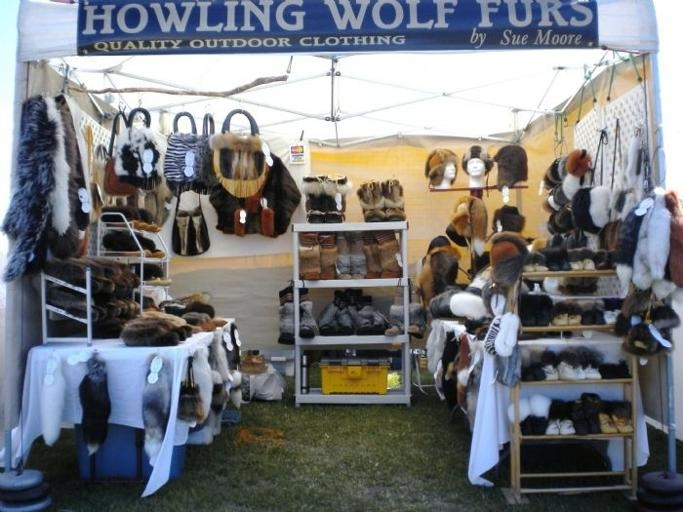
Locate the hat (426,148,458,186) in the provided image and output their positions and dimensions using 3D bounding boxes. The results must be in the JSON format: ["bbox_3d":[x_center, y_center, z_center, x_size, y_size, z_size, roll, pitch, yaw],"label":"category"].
[{"bbox_3d":[1.017,-0.893,8.265,0.320,0.497,0.325,0,-3,-38],"label":"hat"}]

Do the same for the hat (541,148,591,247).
[{"bbox_3d":[1.960,-0.478,6.675,0.218,0.730,0.486,9,-3,-1],"label":"hat"}]

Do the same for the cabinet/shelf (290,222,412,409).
[{"bbox_3d":[0.093,0.602,7.999,1.369,2.443,0.709,0,-7,1],"label":"cabinet/shelf"}]

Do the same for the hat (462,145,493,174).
[{"bbox_3d":[1.387,-0.981,8.093,0.308,0.287,0.183,0,-2,6],"label":"hat"}]

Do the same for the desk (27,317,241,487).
[{"bbox_3d":[-1.599,1.166,5.612,1.327,1.110,0.605,1,-2,-19],"label":"desk"}]

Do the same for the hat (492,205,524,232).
[{"bbox_3d":[1.579,-0.359,7.586,0.279,0.329,0.215,-3,5,-13],"label":"hat"}]

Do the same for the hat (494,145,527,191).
[{"bbox_3d":[1.666,-0.865,7.739,0.309,0.452,0.288,0,-2,-1],"label":"hat"}]

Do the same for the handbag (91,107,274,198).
[{"bbox_3d":[-1.417,-0.893,6.863,0.865,0.619,0.217,1,-6,-13],"label":"handbag"}]
